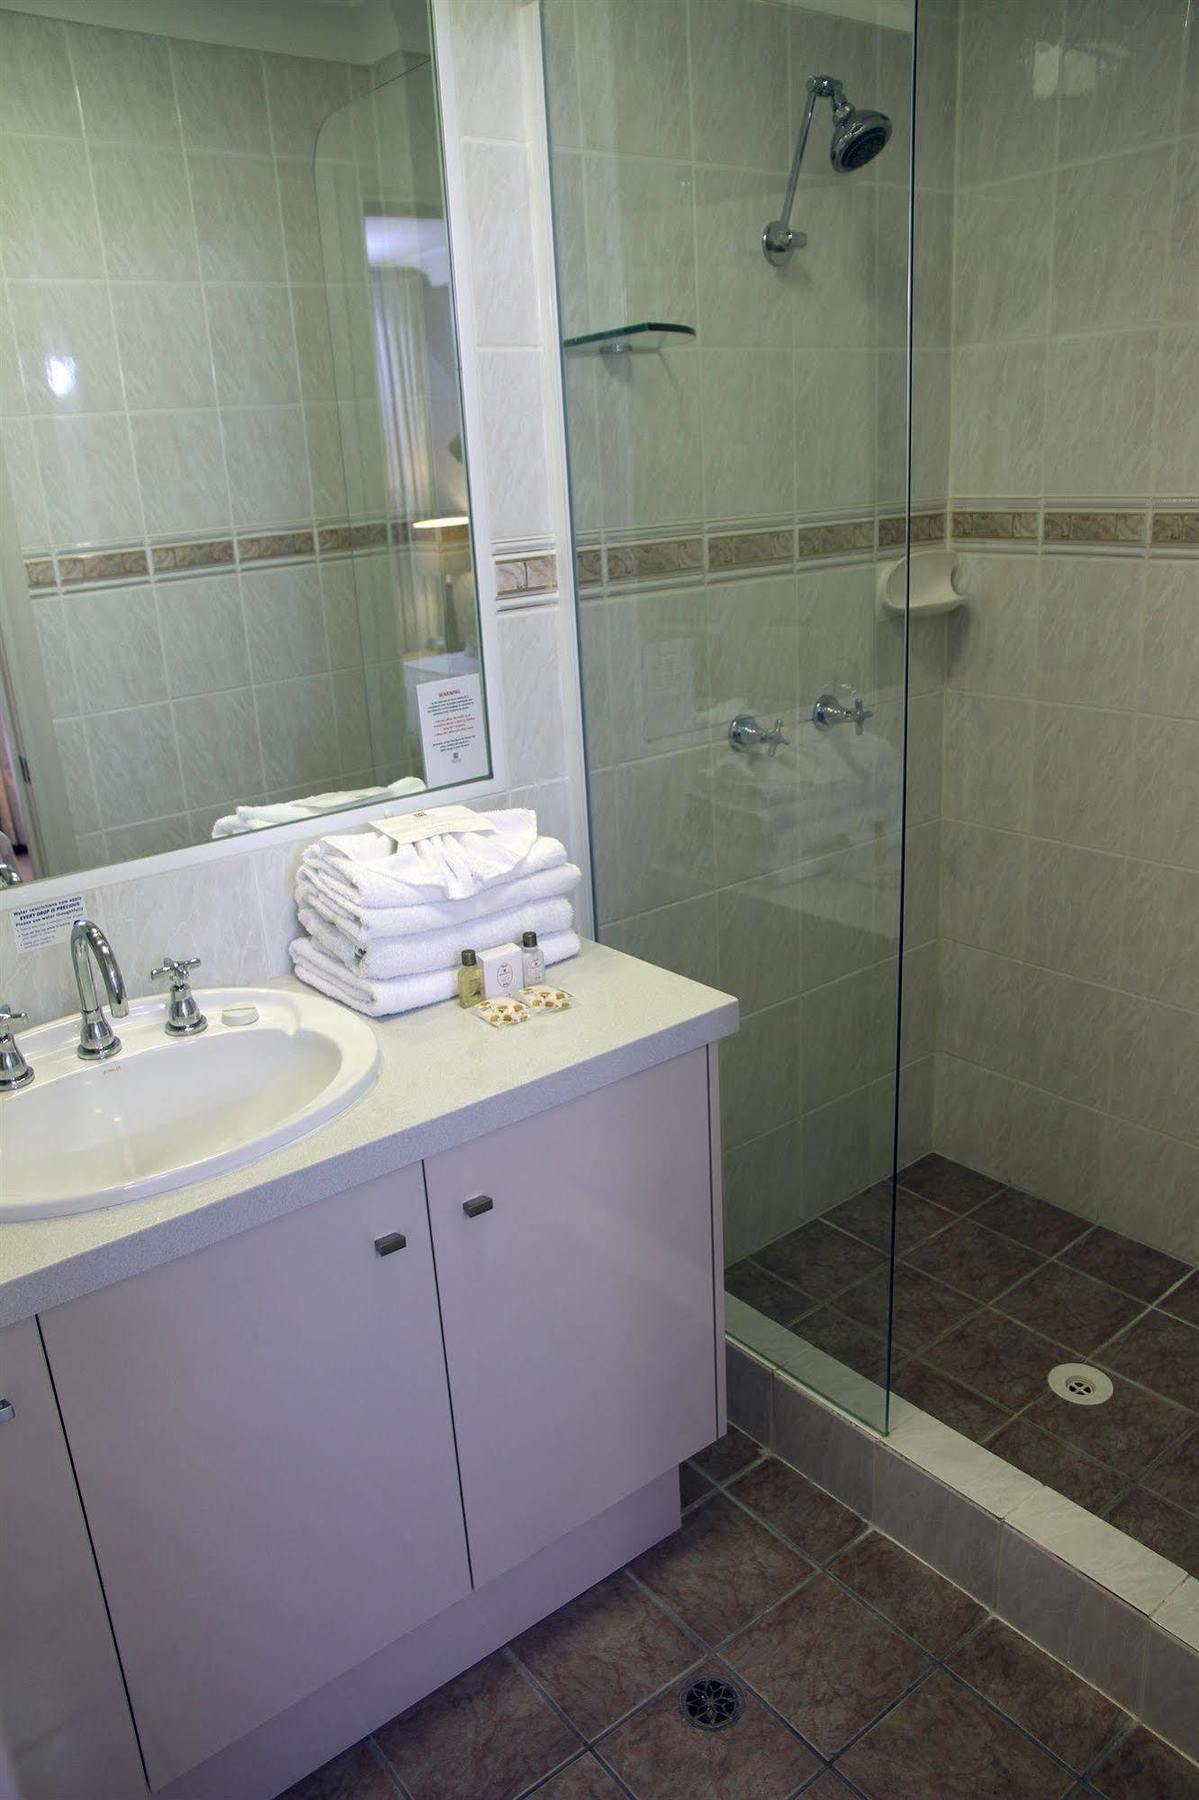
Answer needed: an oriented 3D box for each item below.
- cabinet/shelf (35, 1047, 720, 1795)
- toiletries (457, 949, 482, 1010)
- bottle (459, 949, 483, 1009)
[{"bbox_3d":[-0.248,0.544,1.343,0.638,0.592,0.219,-20,26,-41],"label":"cabinet/shelf"},{"bbox_3d":[-0.164,0.098,1.596,0.030,0.068,0.030,0,16,16],"label":"toiletries"},{"bbox_3d":[-0.164,0.098,1.596,0.030,0.068,0.030,-4,16,1],"label":"bottle"}]
